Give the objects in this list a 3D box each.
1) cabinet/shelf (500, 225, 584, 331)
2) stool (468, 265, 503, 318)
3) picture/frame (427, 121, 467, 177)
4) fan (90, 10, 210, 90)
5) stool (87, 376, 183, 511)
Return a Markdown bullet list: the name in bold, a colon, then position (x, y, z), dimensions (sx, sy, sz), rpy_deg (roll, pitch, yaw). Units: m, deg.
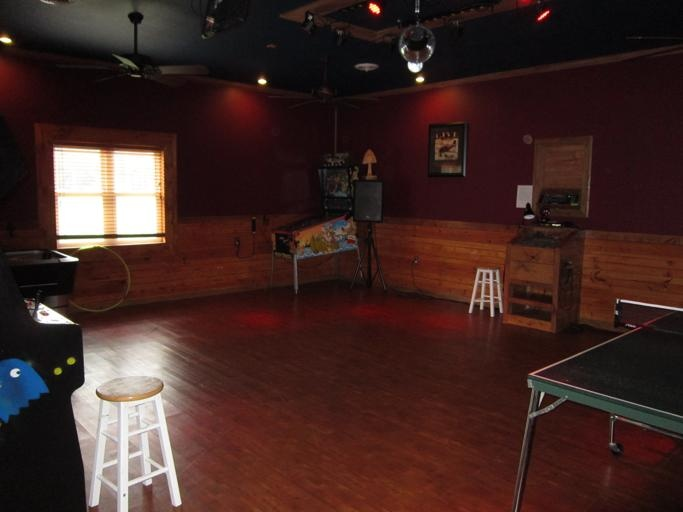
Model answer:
- **cabinet/shelf**: position (2.759, 0.270, 6.823), dimensions (0.727, 1.379, 0.766), rpy_deg (-7, 11, -37)
- **stool**: position (2.168, 0.473, 7.402), dimensions (0.514, 0.608, 0.536), rpy_deg (2, 7, 16)
- **picture/frame**: position (1.730, -1.765, 8.057), dimensions (0.084, 1.112, 0.913), rpy_deg (-3, 4, -44)
- **fan**: position (-2.244, -2.339, 5.980), dimensions (1.064, 0.462, 1.078), rpy_deg (0, 18, -4)
- **stool**: position (-1.504, 1.188, 3.450), dimensions (0.560, 0.814, 1.027), rpy_deg (-8, 12, -30)
